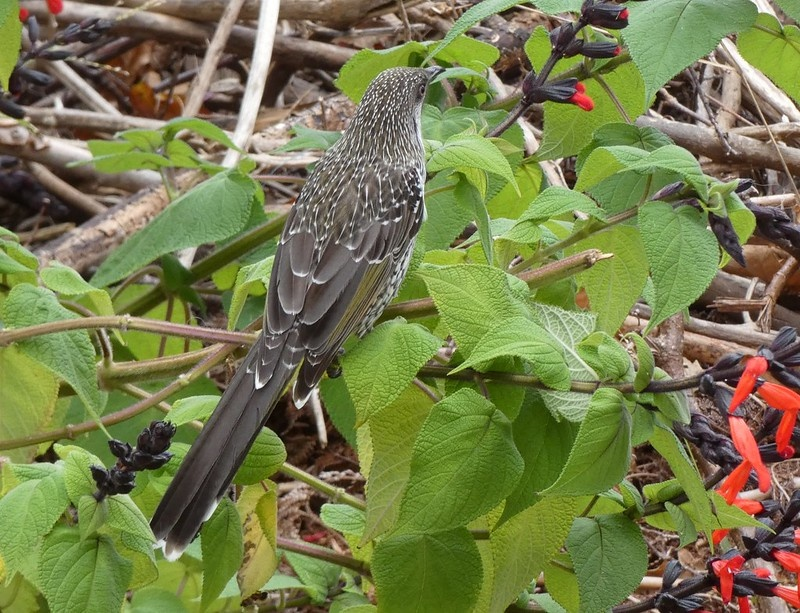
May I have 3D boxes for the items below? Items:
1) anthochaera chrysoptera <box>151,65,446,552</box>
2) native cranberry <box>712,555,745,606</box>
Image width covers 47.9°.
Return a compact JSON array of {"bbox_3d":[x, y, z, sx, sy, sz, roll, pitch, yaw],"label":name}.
[{"bbox_3d":[-0.221,-0.080,2.611,0.850,1.272,1.271,11,21,20],"label":"anthochaera chrysoptera"},{"bbox_3d":[0.818,0.679,2.242,0.093,0.127,0.108,3,-7,-21],"label":"native cranberry"}]
